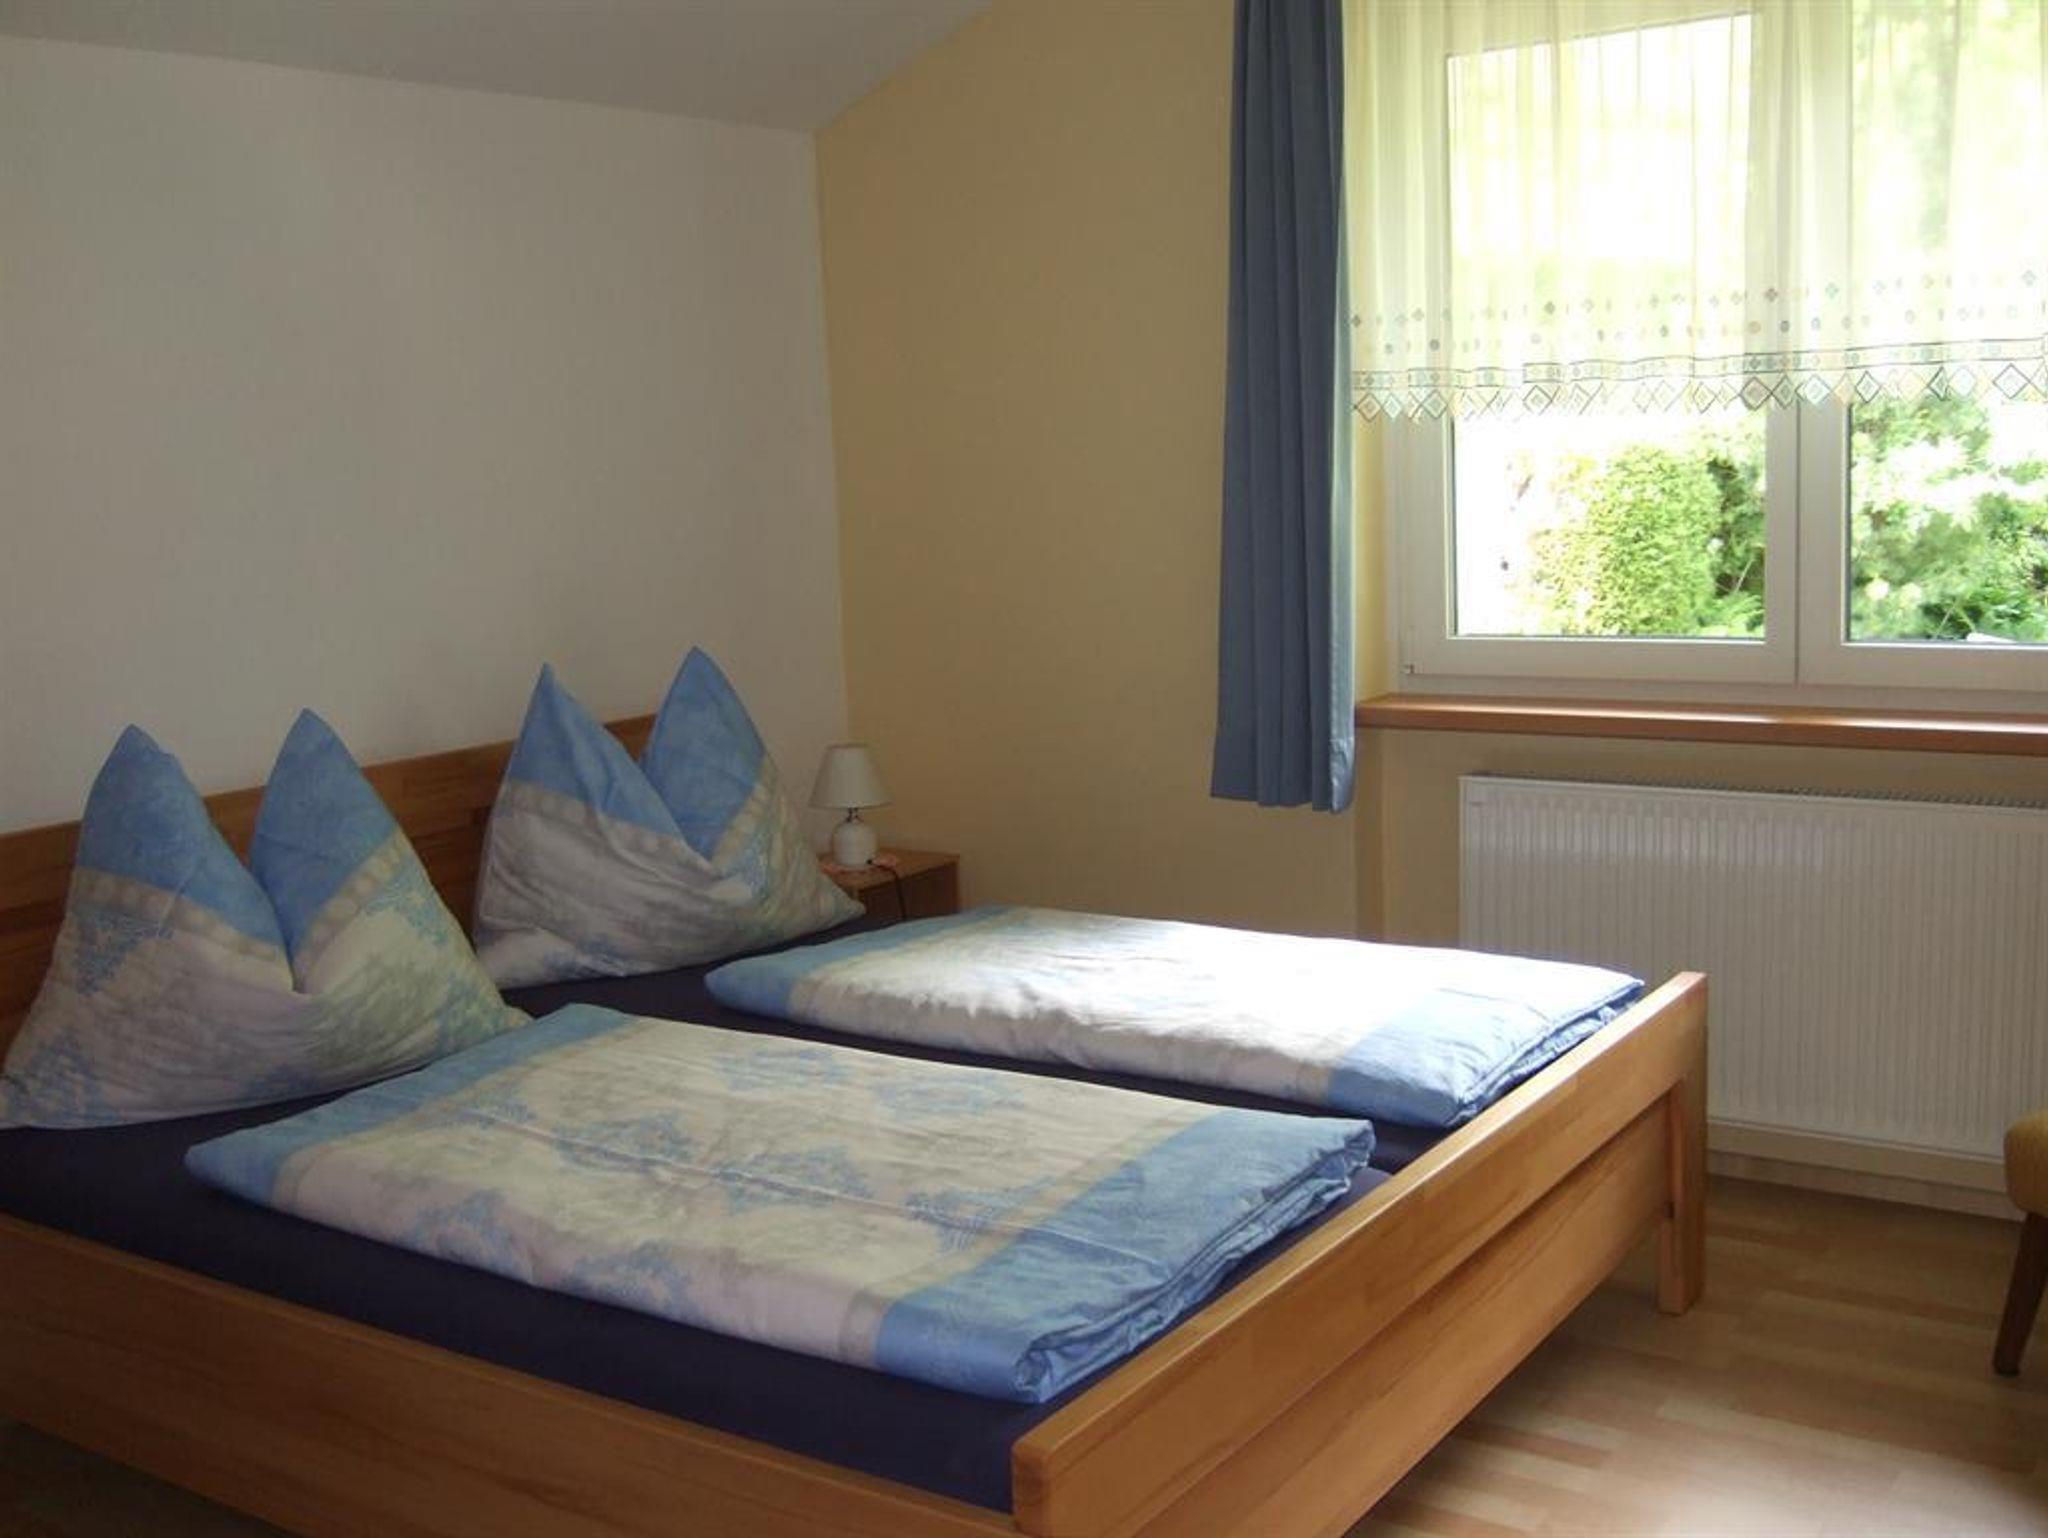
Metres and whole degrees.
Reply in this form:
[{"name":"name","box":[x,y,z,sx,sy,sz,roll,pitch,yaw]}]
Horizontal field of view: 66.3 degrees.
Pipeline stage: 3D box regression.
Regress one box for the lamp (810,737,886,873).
[{"name":"lamp","box":[-0.465,0.104,4.240,0.182,0.322,0.173,-10,11,-39]}]
